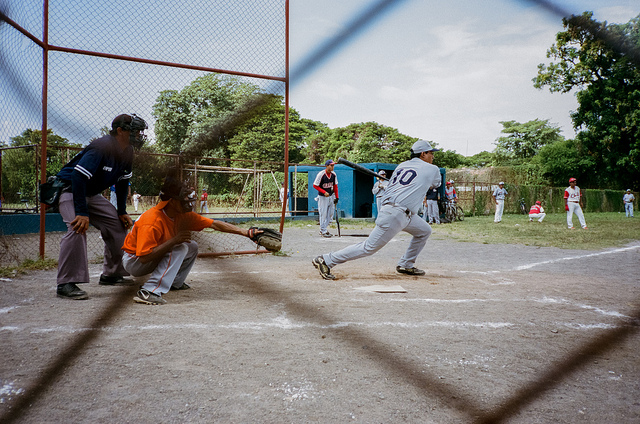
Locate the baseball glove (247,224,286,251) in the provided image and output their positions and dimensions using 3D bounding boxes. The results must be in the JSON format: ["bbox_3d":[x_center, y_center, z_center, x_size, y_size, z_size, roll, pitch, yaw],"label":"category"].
[{"bbox_3d":[-0.762,0.306,5.694,0.507,0.219,0.410,21,6,31],"label":"baseball glove"}]

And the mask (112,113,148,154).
[{"bbox_3d":[-2.433,-1.025,5.854,0.399,0.357,0.328,10,-1,-2],"label":"mask"}]

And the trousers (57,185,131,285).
[{"bbox_3d":[-2.873,0.288,5.642,0.467,1.244,0.923,4,9,21],"label":"trousers"}]

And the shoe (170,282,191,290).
[{"bbox_3d":[-1.813,0.955,5.831,0.230,0.092,0.076,-1,6,-25],"label":"shoe"}]

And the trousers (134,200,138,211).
[{"bbox_3d":[-6.317,-0.203,15.472,0.107,0.331,0.371,-2,8,-21],"label":"trousers"}]

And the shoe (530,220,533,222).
[{"bbox_3d":[10.078,0.431,21.635,0.103,0.098,0.105,0,-2,24],"label":"shoe"}]

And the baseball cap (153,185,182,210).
[{"bbox_3d":[-1.744,-0.160,5.251,0.258,0.316,0.197,22,-5,-38],"label":"baseball cap"}]

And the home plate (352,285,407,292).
[{"bbox_3d":[0.771,1.005,5.968,0.678,0.035,0.369,1,7,2],"label":"home plate"}]

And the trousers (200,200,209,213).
[{"bbox_3d":[-4.635,-0.226,17.991,0.329,0.486,0.745,-1,8,-15],"label":"trousers"}]

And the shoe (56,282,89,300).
[{"bbox_3d":[-2.904,0.936,5.274,0.389,0.150,0.159,1,-3,13],"label":"shoe"}]

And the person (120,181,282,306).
[{"bbox_3d":[-1.447,0.366,5.708,2.043,1.283,0.997,3,6,-26],"label":"person"}]

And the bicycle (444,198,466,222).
[{"bbox_3d":[6.495,-0.069,22.119,0.937,0.900,1.578,-21,-14,29],"label":"bicycle"}]

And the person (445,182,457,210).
[{"bbox_3d":[6.259,-0.770,21.689,0.462,1.262,0.785,3,8,15],"label":"person"}]

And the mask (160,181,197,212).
[{"bbox_3d":[-1.620,-0.131,5.205,0.285,0.370,0.369,11,-8,-37],"label":"mask"}]

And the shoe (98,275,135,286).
[{"bbox_3d":[-2.722,0.903,6.028,0.474,0.169,0.165,1,-2,-10],"label":"shoe"}]

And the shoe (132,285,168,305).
[{"bbox_3d":[-1.955,0.982,5.231,0.420,0.178,0.152,1,-2,3],"label":"shoe"}]

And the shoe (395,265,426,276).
[{"bbox_3d":[1.389,0.915,7.055,0.431,0.163,0.158,0,0,4],"label":"shoe"}]
